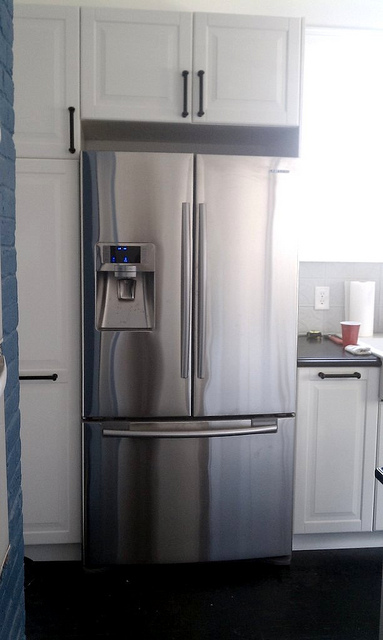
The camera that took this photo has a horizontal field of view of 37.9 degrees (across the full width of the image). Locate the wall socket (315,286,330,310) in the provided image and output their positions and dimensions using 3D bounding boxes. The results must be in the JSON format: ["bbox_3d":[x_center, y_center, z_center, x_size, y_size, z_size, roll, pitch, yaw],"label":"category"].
[{"bbox_3d":[0.624,-0.111,2.663,0.089,0.169,0.016,1,2,-5],"label":"wall socket"}]

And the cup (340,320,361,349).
[{"bbox_3d":[0.677,0.063,2.401,0.089,0.123,0.097,0,-6,0],"label":"cup"}]

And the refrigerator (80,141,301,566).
[{"bbox_3d":[-0.022,0.145,2.264,0.763,1.652,0.572,1,12,-6],"label":"refrigerator"}]
